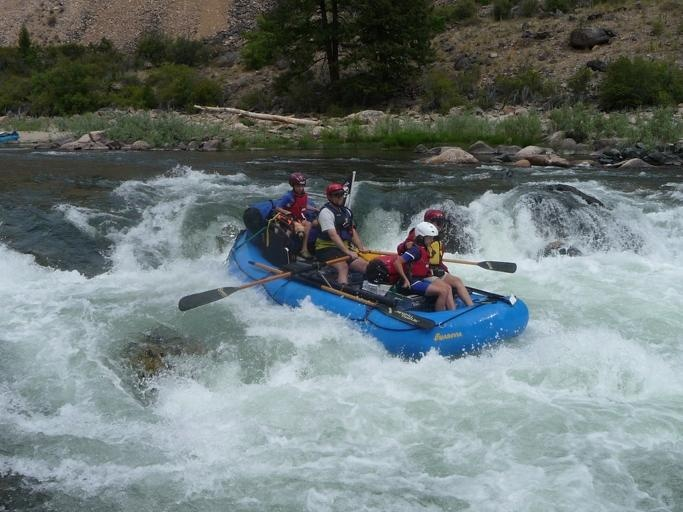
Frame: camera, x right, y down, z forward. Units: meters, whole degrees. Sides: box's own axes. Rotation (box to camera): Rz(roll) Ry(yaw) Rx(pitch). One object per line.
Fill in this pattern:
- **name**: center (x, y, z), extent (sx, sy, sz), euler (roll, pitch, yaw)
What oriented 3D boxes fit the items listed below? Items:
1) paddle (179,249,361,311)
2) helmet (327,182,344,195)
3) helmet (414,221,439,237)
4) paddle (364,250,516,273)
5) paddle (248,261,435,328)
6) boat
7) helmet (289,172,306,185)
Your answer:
- **paddle**: center (-1.336, 0.257, 13.235), extent (4.304, 0.386, 0.188), euler (-9, 11, 43)
- **helmet**: center (-0.096, -1.129, 12.204), extent (0.268, 0.178, 0.422), euler (0, 25, 2)
- **helmet**: center (1.267, -0.389, 11.004), extent (0.289, 0.231, 0.211), euler (36, 61, 21)
- **paddle**: center (1.673, 0.110, 12.310), extent (2.387, 0.234, 0.263), euler (4, 11, 4)
- **paddle**: center (0.083, 0.632, 11.237), extent (3.565, 0.237, 0.280), euler (15, 62, 43)
- **boat**: center (0.139, 0.467, 11.636), extent (4.708, 1.224, 2.300), euler (23, 31, 36)
- **helmet**: center (-0.784, -1.326, 12.840), extent (0.226, 0.190, 0.267), euler (-8, 27, -13)
